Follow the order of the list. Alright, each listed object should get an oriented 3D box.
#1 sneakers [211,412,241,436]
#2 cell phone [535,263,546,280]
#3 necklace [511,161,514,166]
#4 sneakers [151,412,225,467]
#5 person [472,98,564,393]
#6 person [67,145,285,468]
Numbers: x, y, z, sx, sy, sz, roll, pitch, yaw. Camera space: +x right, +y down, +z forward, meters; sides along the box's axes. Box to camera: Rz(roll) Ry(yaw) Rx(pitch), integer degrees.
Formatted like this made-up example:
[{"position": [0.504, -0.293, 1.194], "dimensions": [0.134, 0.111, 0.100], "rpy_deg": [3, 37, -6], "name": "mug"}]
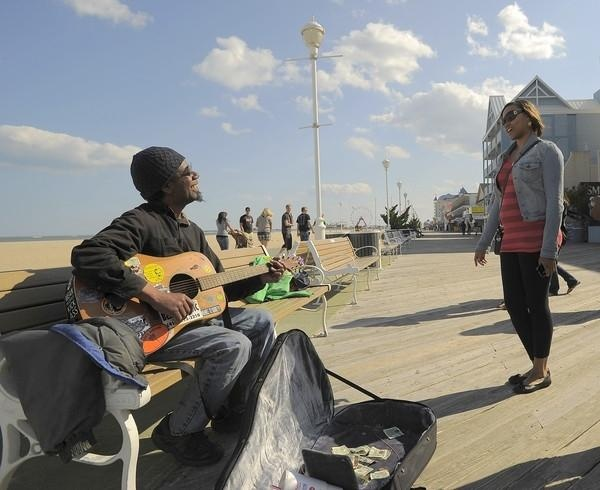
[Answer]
[{"position": [-0.473, 1.178, 2.488], "dimensions": [0.197, 0.148, 0.068], "rpy_deg": [-12, 3, 1], "name": "sneakers"}, {"position": [1.752, 0.192, 2.712], "dimensions": [0.057, 0.114, 0.065], "rpy_deg": [-1, 4, 33], "name": "cell phone"}, {"position": [1.678, -0.645, 2.941], "dimensions": [0.023, 0.015, 0.064], "rpy_deg": [17, 35, 20], "name": "necklace"}, {"position": [-0.619, 1.118, 2.176], "dimensions": [0.424, 0.212, 0.221], "rpy_deg": [14, 21, 7], "name": "sneakers"}, {"position": [1.748, -0.011, 2.932], "dimensions": [0.377, 2.227, 0.704], "rpy_deg": [-3, 3, -1], "name": "person"}, {"position": [-0.657, 0.335, 2.236], "dimensions": [0.743, 1.890, 1.053], "rpy_deg": [-2, 3, 20], "name": "person"}]
